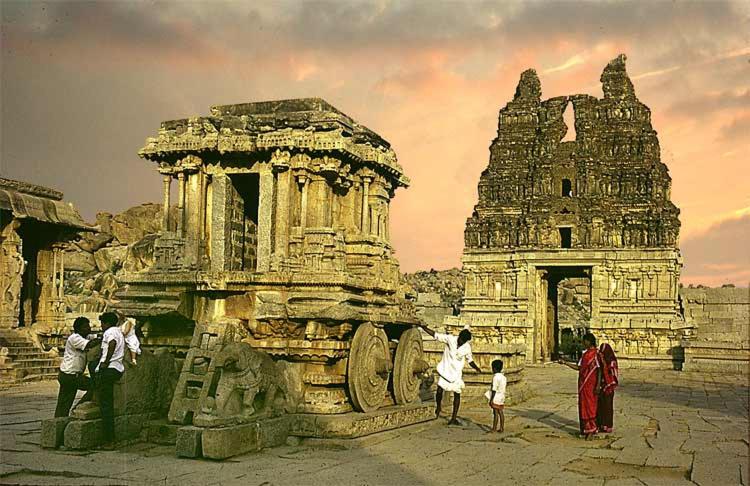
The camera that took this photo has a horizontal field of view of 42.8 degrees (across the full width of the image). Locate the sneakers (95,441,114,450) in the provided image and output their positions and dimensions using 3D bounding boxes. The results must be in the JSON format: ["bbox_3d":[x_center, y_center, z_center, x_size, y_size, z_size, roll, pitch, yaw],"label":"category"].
[{"bbox_3d":[-6.007,4.527,21.366,0.358,0.152,0.201,2,4,2],"label":"sneakers"}]

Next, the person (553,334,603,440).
[{"bbox_3d":[5.160,3.465,23.233,0.627,2.427,0.637,3,5,12],"label":"person"}]

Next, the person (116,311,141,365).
[{"bbox_3d":[-5.706,2.226,22.126,0.625,1.208,0.476,-1,-47,-29],"label":"person"}]
